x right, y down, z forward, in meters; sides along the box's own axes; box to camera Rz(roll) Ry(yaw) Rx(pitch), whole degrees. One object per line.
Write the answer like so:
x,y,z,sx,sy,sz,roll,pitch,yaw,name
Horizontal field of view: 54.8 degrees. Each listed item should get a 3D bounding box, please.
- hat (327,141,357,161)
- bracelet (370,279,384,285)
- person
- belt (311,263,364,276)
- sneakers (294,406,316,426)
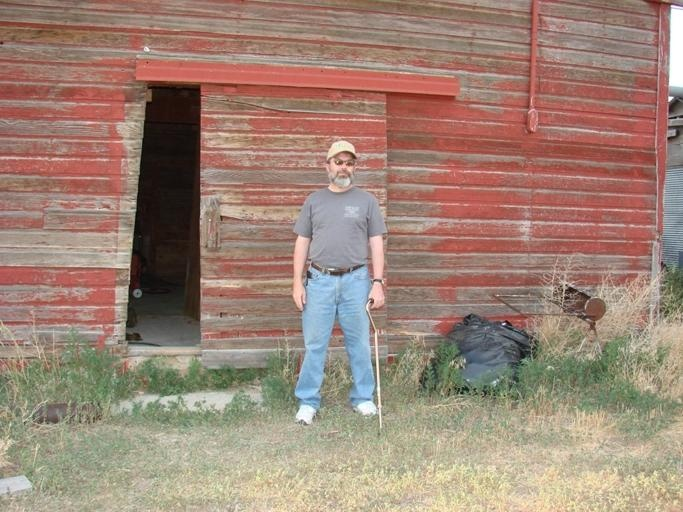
0.001,-1.030,6.372,0.279,0.125,0.309,2,-6,-6,hat
0.342,0.249,6.340,0.116,0.044,0.090,-3,-13,4,bracelet
-0.042,0.439,6.351,0.878,2.279,0.376,2,3,-2,person
-0.035,0.123,6.313,0.491,0.115,0.105,1,3,2,belt
-0.341,1.517,6.318,0.157,0.065,0.192,7,20,5,sneakers
